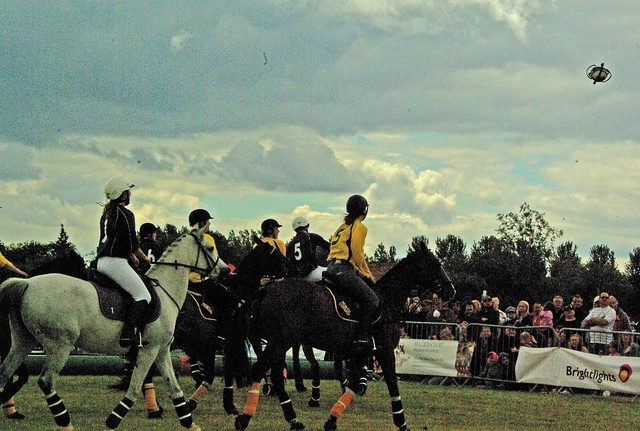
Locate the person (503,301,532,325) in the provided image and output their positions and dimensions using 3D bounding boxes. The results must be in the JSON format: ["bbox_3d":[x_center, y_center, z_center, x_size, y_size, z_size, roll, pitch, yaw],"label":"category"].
[{"bbox_3d":[6.251,3.044,31.439,0.818,0.797,1.686,5,-6,8],"label":"person"}]

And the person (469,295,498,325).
[{"bbox_3d":[5.274,2.963,31.662,0.589,0.867,1.104,9,-7,-23],"label":"person"}]

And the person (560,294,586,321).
[{"bbox_3d":[7.859,2.814,30.396,0.659,0.770,0.308,2,13,31],"label":"person"}]

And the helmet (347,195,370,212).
[{"bbox_3d":[0.882,-0.276,23.956,0.407,0.468,0.541,7,19,44],"label":"helmet"}]

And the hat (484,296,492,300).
[{"bbox_3d":[5.312,2.581,31.625,0.178,0.121,0.326,1,-7,38],"label":"hat"}]

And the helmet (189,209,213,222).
[{"bbox_3d":[-2.439,0.017,20.773,0.400,0.172,0.248,-5,8,-13],"label":"helmet"}]

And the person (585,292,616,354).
[{"bbox_3d":[8.304,3.154,29.562,0.804,1.804,1.108,8,-7,-11],"label":"person"}]

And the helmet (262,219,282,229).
[{"bbox_3d":[-1.062,0.191,22.025,0.524,0.196,0.344,-10,2,-4],"label":"helmet"}]

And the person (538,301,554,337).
[{"bbox_3d":[6.927,3.140,30.682,0.494,1.057,1.634,5,-6,13],"label":"person"}]

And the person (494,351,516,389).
[{"bbox_3d":[5.707,4.673,30.493,0.397,1.084,0.568,9,-7,-18],"label":"person"}]
